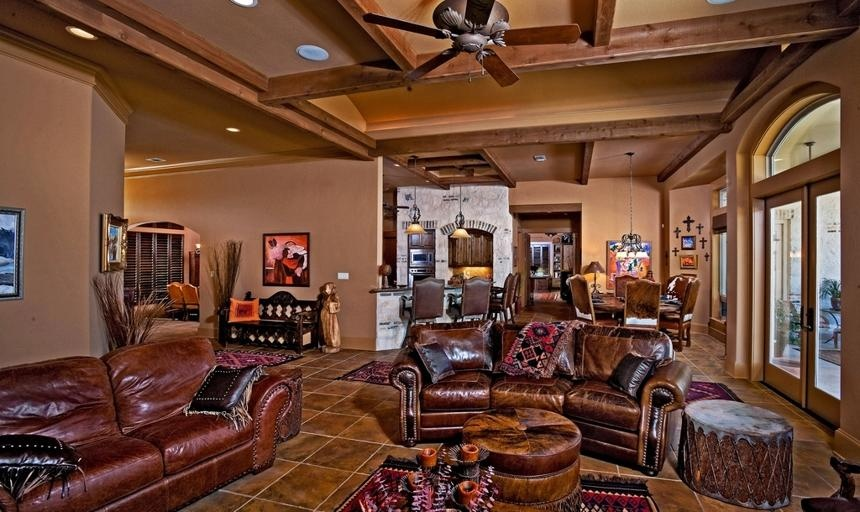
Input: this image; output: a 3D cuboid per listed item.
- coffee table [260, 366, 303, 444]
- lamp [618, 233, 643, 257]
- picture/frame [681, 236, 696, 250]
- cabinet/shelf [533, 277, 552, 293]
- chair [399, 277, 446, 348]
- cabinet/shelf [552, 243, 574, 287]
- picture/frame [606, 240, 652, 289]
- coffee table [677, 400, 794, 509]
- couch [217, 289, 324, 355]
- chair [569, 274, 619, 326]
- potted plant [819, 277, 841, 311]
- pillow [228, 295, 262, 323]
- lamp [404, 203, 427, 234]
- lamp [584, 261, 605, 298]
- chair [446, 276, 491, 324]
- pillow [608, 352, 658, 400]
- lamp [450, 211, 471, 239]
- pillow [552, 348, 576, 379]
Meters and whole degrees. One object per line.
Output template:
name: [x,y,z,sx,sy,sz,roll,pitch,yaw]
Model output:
coffee table: [-1.858,1.712,6.263,0.625,0.831,0.603,5,-12,-15]
lamp: [4.524,-0.254,11.537,0.583,0.555,0.540,1,-4,-1]
picture/frame: [5.438,-0.281,10.916,0.036,0.311,0.330,6,-5,-40]
cabinet/shelf: [4.321,1.058,20.166,1.114,0.604,0.531,1,2,0]
chair: [-0.094,1.000,9.367,0.920,1.195,0.861,0,0,6]
cabinet/shelf: [5.263,0.341,20.727,0.675,1.736,1.753,0,0,7]
picture/frame: [4.387,0.145,11.368,1.288,1.349,0.064,1,-1,11]
coffee table: [3.171,2.045,5.720,1.085,0.680,1.002,0,2,-5]
couch: [-3.044,1.205,9.686,1.604,0.854,0.594,3,8,16]
chair: [2.963,0.763,9.434,0.786,0.849,1.043,0,0,15]
potted plant: [5.026,0.448,6.454,0.403,0.351,0.302,5,-4,-40]
pillow: [-3.481,0.996,9.761,0.516,0.431,0.157,2,-16,-20]
lamp: [-0.329,-0.837,11.572,0.721,0.664,0.672,-2,8,-17]
lamp: [3.789,0.483,11.942,0.489,0.686,0.455,-2,-1,10]
chair: [0.732,0.785,9.659,0.724,0.822,0.910,0,0,-7]
pillow: [2.309,1.337,5.938,0.148,0.430,0.471,31,1,-15]
lamp: [0.696,-0.710,11.888,0.658,0.595,0.603,0,-5,3]
pillow: [1.673,1.339,6.501,0.330,0.293,0.143,-5,-4,-7]
